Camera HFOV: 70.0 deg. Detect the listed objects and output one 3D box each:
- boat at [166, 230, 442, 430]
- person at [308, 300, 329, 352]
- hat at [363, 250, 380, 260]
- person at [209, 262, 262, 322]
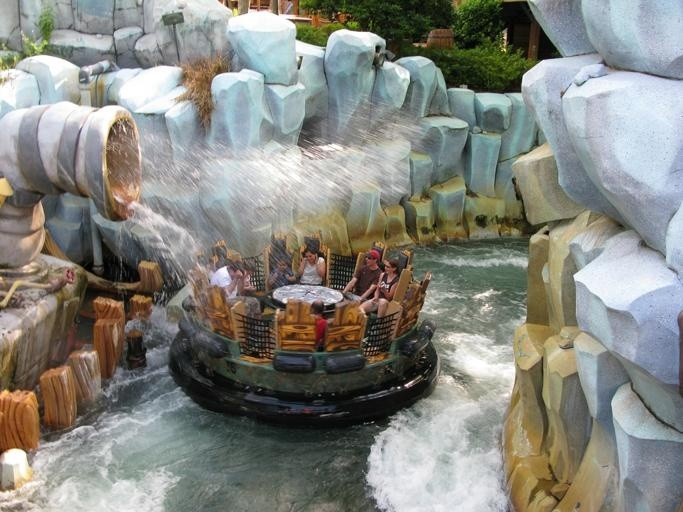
[{"bbox_3d":[-0.562,1.221,6.926,3.732,1.740,1.594,3,17,10],"label":"boat"},{"bbox_3d":[-0.271,1.030,6.741,0.277,0.868,0.254,-1,15,9],"label":"person"},{"bbox_3d":[0.518,-0.032,8.057,0.168,0.093,0.131,18,18,10],"label":"hat"},{"bbox_3d":[-1.654,0.550,7.641,0.553,1.115,0.451,-4,18,2],"label":"person"}]
